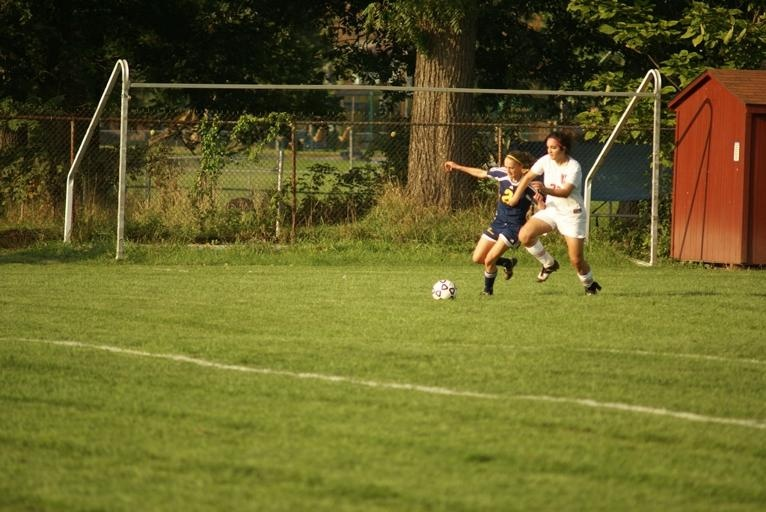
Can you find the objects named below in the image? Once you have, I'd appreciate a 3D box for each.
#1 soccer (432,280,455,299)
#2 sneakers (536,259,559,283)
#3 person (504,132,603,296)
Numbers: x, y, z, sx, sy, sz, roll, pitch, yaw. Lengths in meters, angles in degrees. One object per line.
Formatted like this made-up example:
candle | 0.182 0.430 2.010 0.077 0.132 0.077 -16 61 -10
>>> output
soccer | 0.852 0.449 14.643 0.278 0.277 0.257 10 -29 -20
sneakers | 2.497 0.225 15.941 0.159 0.130 0.351 21 -57 -44
person | 2.466 -0.627 14.898 1.316 2.303 1.121 -2 12 -9
